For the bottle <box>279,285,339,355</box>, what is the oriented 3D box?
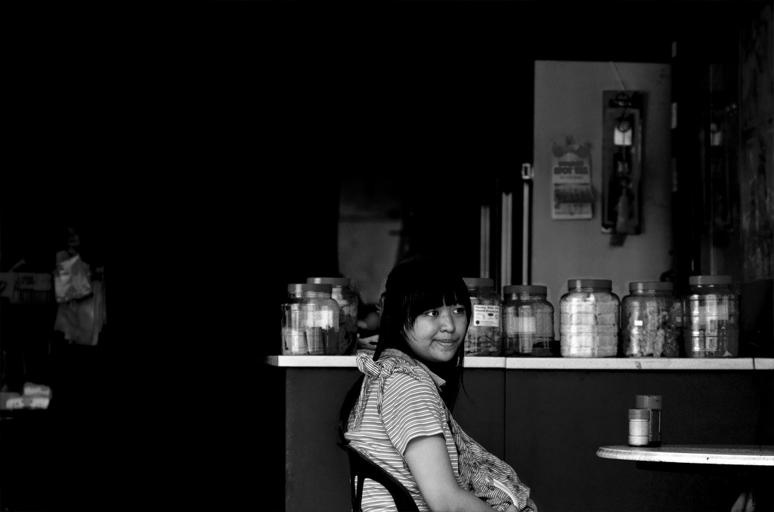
[{"bbox_3d":[-0.350,0.303,4.136,0.295,0.347,0.292,-1,-6,6],"label":"bottle"}]
